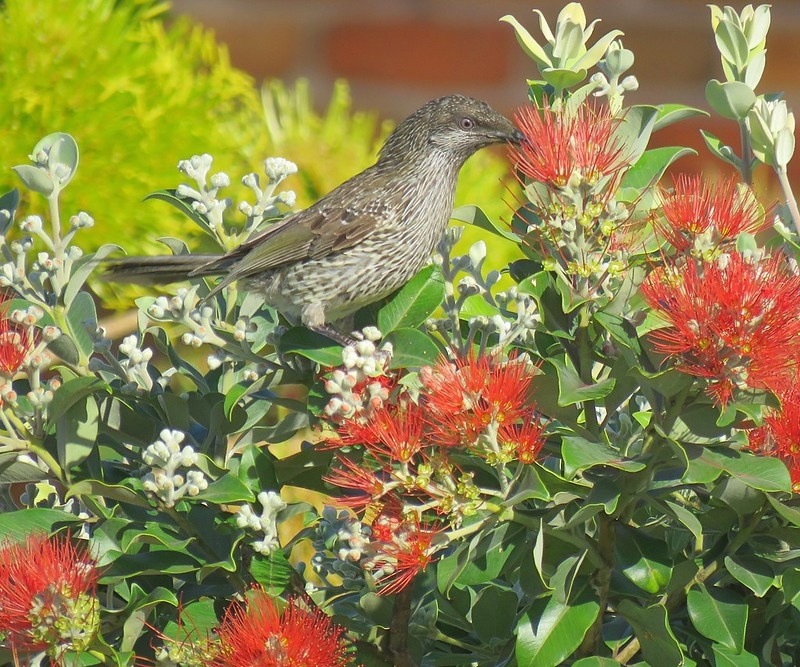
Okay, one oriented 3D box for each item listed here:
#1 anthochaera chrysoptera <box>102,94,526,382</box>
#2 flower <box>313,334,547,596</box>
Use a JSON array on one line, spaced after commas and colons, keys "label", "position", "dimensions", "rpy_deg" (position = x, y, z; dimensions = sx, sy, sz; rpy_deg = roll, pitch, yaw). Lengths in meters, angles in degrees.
[{"label": "anthochaera chrysoptera", "position": [-0.165, -0.205, 2.388], "dimensions": [0.737, 0.498, 0.243], "rpy_deg": [2, 2, 6]}, {"label": "flower", "position": [0.037, 0.175, 1.881], "dimensions": [0.297, 0.378, 0.221], "rpy_deg": [32, 41, -2]}]
